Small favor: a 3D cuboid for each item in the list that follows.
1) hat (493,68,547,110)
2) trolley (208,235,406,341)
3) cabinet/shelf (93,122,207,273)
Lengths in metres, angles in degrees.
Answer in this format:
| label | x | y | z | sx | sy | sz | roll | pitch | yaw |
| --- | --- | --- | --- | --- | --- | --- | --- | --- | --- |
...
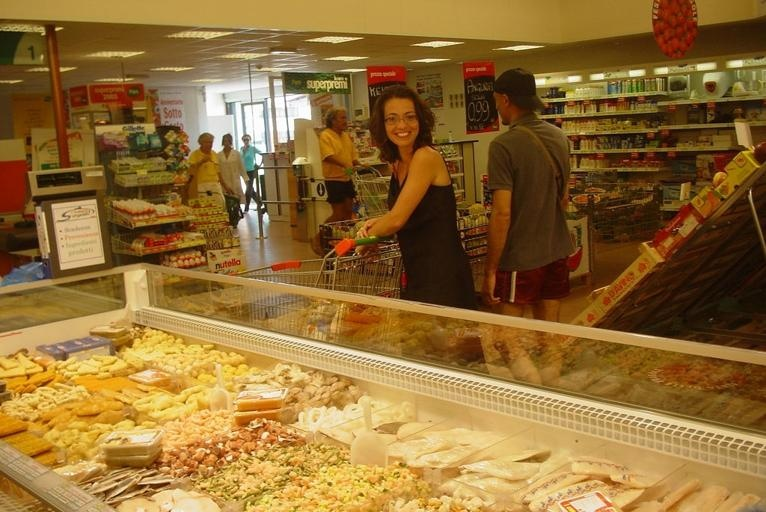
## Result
| label | x | y | z | sx | sy | sz | roll | pitch | yaw |
| --- | --- | --- | --- | --- | --- | --- | --- | --- | --- |
| hat | 0.958 | -1.163 | 3.637 | 0.377 | 0.184 | 0.270 | 26 | 34 | 24 |
| trolley | -0.292 | 0.213 | 3.479 | 0.708 | 0.838 | 1.080 | -20 | -15 | 21 |
| cabinet/shelf | -3.488 | -0.843 | 7.198 | 1.487 | 1.850 | 1.400 | 4 | 9 | 19 |
